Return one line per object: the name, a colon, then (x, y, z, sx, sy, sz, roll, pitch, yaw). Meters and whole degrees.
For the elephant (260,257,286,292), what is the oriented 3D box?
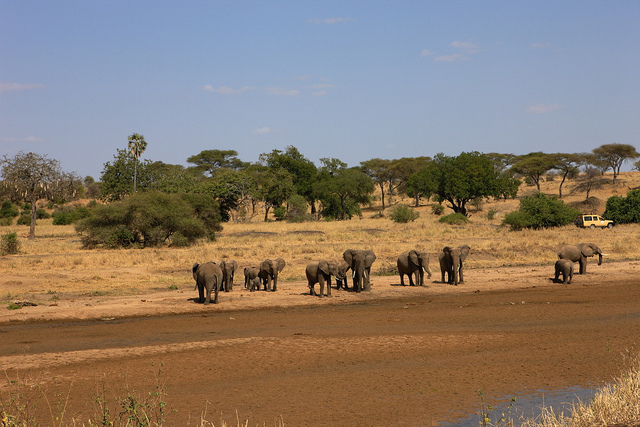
elephant: (-2.725, 3.482, 46.457, 1.597, 1.660, 2.553, -2, -1, -17)

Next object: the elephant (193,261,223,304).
elephant: (-5.849, 3.678, 42.595, 1.174, 1.688, 0.786, -3, -1, 29)

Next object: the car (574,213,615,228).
car: (24.276, 0.791, 73.185, 2.636, 1.188, 1.422, -2, 4, -5)

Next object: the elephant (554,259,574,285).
elephant: (13.934, 3.387, 47.361, 0.951, 1.351, 1.837, 5, 3, -21)

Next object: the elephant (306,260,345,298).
elephant: (0.281, 3.584, 44.185, 1.330, 2.023, 2.882, 7, -10, -43)

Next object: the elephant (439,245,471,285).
elephant: (7.879, 2.993, 47.807, 1.685, 2.150, 3.475, -1, -2, 5)

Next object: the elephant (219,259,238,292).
elephant: (-5.203, 3.476, 46.336, 1.172, 1.648, 3.088, 1, 2, -5)

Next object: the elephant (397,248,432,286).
elephant: (5.490, 3.169, 46.446, 1.319, 1.929, 2.682, 4, -12, -34)

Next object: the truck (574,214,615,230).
truck: (24.369, 0.837, 73.152, 2.769, 1.175, 1.463, -3, 5, -9)
